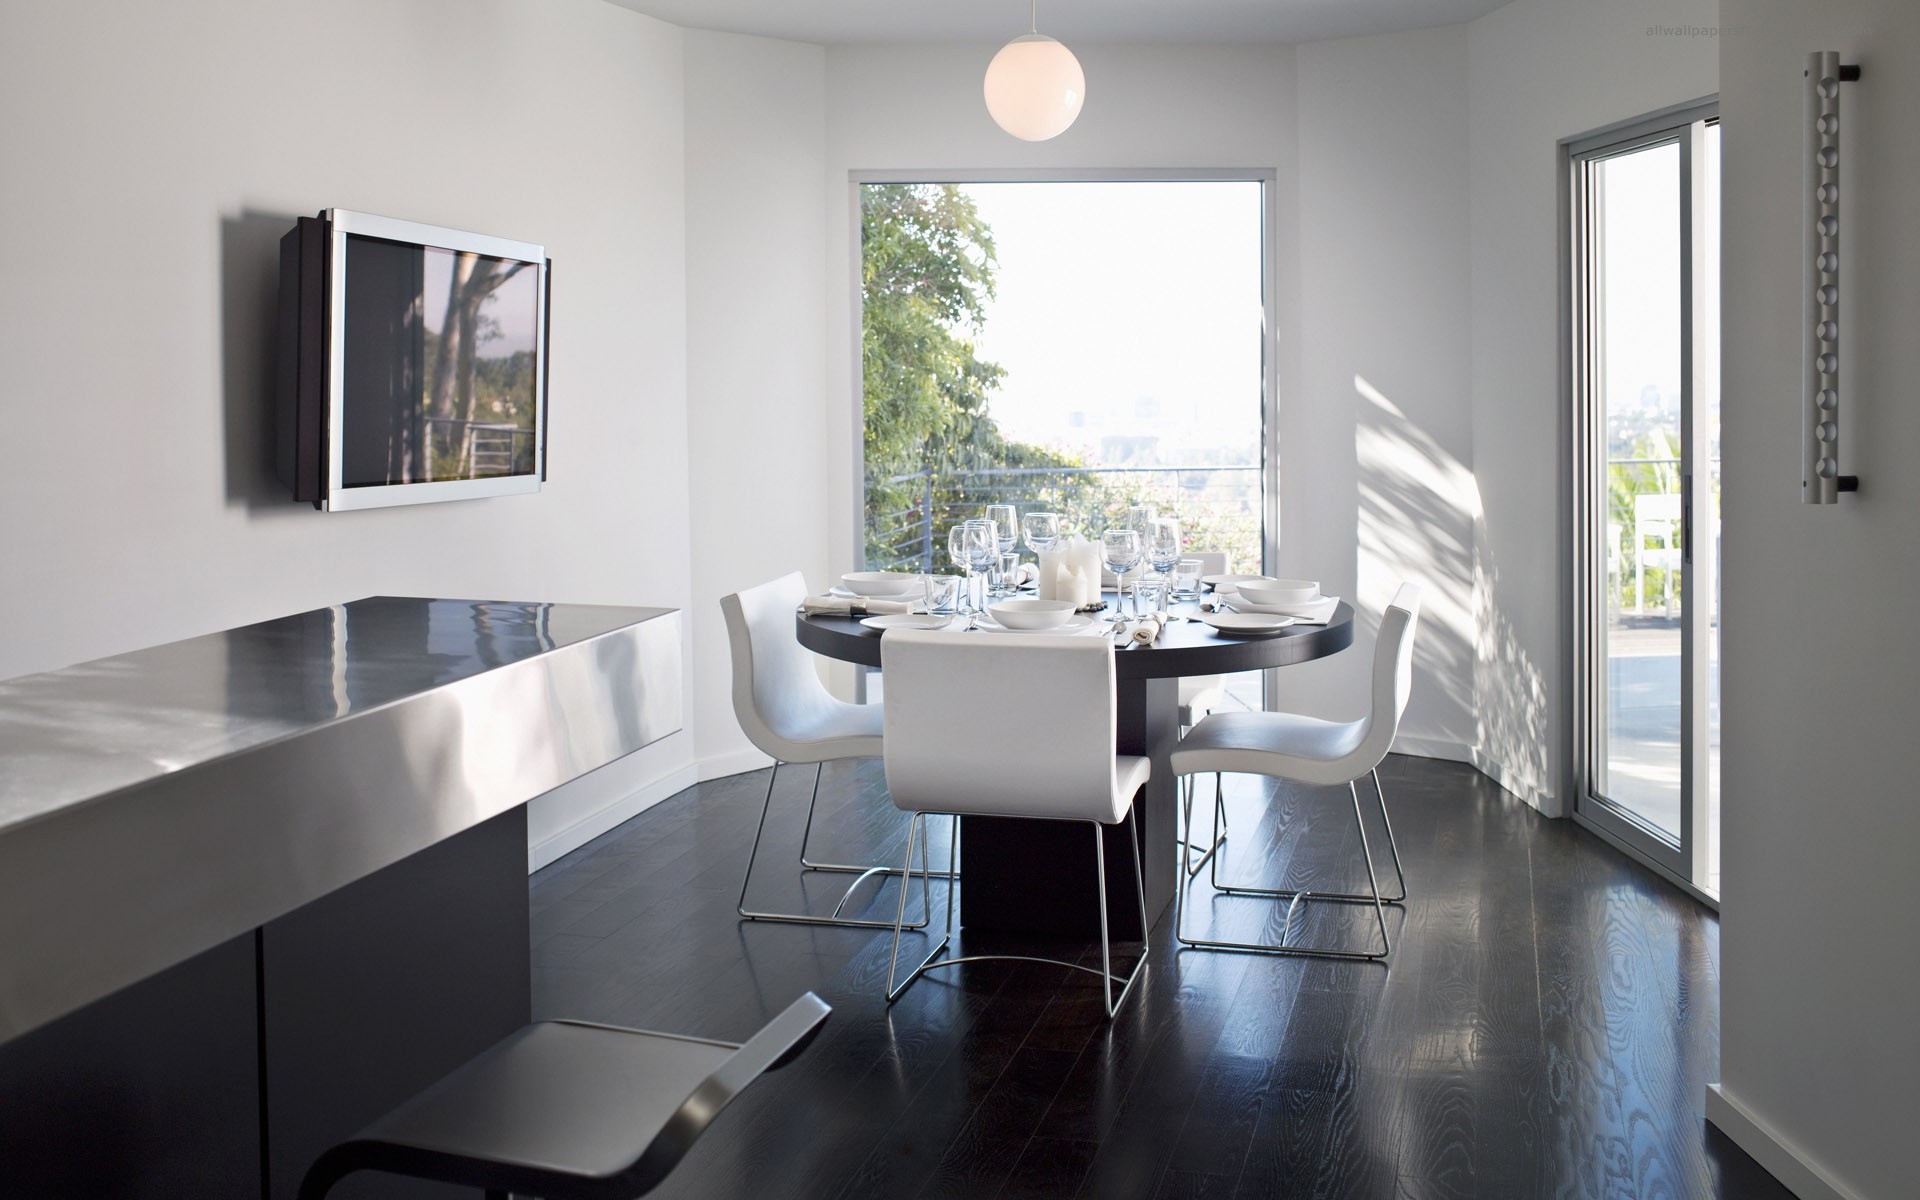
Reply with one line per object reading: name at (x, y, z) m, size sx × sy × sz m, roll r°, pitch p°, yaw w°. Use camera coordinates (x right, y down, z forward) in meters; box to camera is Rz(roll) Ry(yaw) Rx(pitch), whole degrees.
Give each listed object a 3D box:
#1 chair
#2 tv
chair at (0.381, 0.569, 4.253) m, size 2.370 × 1.217 × 1.342 m, roll -3°, pitch 12°, yaw -9°
tv at (-1.967, -0.846, 4.357) m, size 0.364 × 0.947 × 1.104 m, roll 10°, pitch 11°, yaw 22°
